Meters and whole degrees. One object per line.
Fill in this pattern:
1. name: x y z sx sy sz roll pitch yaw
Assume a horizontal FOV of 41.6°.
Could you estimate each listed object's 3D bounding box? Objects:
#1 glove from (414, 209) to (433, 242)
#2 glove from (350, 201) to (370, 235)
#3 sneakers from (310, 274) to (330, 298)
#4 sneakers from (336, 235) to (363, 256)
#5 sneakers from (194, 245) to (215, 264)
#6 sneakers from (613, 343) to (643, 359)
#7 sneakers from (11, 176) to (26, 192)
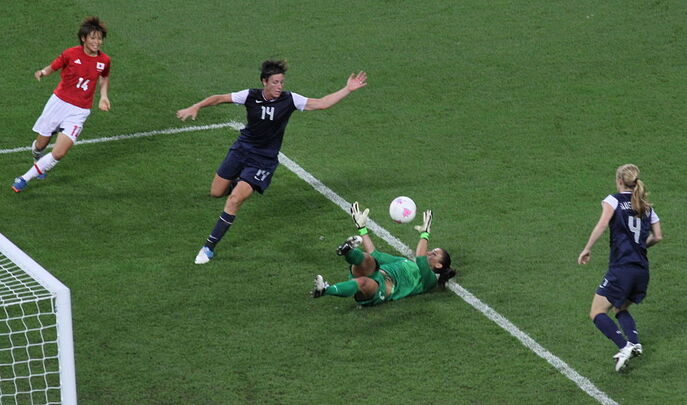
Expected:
1. glove: 1.415 0.415 15.360 0.416 0.154 0.431 -1 62 45
2. glove: 0.257 0.301 15.558 0.307 0.427 0.426 -20 48 -3
3. sneakers: -0.401 1.354 14.395 0.258 0.465 0.155 -1 58 -16
4. sneakers: 0.107 0.699 14.437 0.479 0.209 0.188 -39 52 13
5. sneakers: -2.370 0.909 15.324 0.196 0.352 0.252 47 46 4
6. sneakers: 4.492 2.321 14.152 0.190 0.234 0.219 4 68 -5
7. sneakers: -5.788 -0.313 16.105 0.297 0.131 0.401 -17 24 -2
